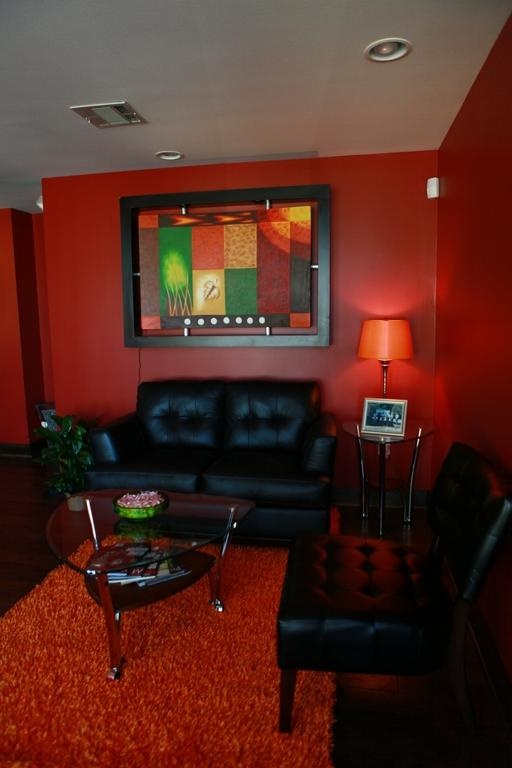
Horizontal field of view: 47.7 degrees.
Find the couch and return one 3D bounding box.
[{"bbox_3d":[-0.227,0.432,3.508,1.403,0.793,0.794,2,10,12],"label":"couch"}]

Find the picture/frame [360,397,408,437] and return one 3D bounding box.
[{"bbox_3d":[0.727,0.194,3.297,0.201,0.189,0.020,4,-15,25],"label":"picture/frame"}]

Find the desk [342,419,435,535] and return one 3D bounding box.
[{"bbox_3d":[0.750,0.546,3.390,0.453,0.527,0.489,4,8,32],"label":"desk"}]

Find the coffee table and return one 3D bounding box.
[{"bbox_3d":[-0.471,0.765,2.375,0.666,0.402,0.782,11,18,36],"label":"coffee table"}]

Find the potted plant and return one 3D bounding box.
[{"bbox_3d":[-1.220,0.547,3.884,0.451,0.744,0.464,-5,3,-7],"label":"potted plant"}]

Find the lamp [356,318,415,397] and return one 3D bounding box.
[{"bbox_3d":[0.775,-0.120,3.490,0.339,0.520,0.327,-2,6,-9],"label":"lamp"}]

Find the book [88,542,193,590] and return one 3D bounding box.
[{"bbox_3d":[-0.439,0.665,2.150,0.235,0.054,0.236,3,8,4],"label":"book"}]
